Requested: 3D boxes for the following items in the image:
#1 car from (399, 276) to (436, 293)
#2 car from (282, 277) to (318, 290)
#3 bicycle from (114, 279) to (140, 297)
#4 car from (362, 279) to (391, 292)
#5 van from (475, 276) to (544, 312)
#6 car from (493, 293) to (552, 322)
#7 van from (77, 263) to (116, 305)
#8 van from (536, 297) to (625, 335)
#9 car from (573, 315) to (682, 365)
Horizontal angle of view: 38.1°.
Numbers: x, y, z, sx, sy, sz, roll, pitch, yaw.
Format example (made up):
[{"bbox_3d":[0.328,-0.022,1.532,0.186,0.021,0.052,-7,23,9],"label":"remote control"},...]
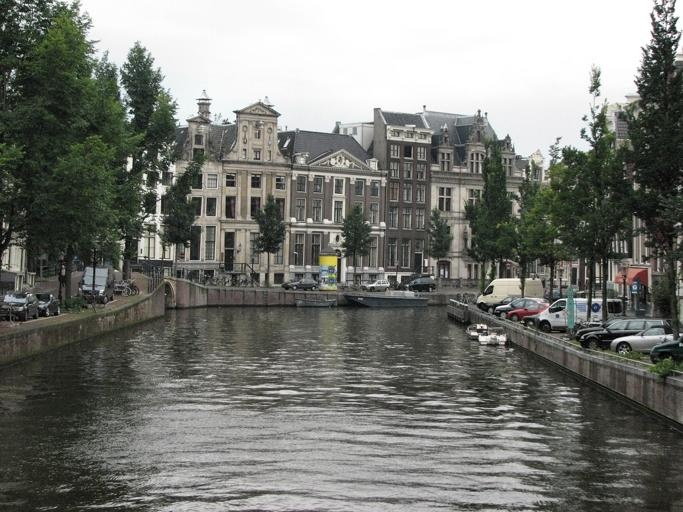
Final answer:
[{"bbox_3d":[9.062,3.245,116.292,3.354,1.440,1.829,4,-5,-21],"label":"car"},{"bbox_3d":[-4.406,3.071,105.953,3.524,1.054,1.782,1,-3,-8],"label":"car"},{"bbox_3d":[-17.733,2.667,81.347,2.202,1.300,1.058,0,1,4],"label":"bicycle"},{"bbox_3d":[3.783,3.342,112.713,2.251,1.155,1.429,4,-6,-26],"label":"car"},{"bbox_3d":[14.644,3.354,90.343,6.160,3.125,2.873,-1,5,-4],"label":"van"},{"bbox_3d":[12.832,3.746,71.336,1.673,1.229,3.610,-1,1,-44],"label":"car"},{"bbox_3d":[-17.709,1.987,70.305,2.022,2.139,4.188,1,-3,-3],"label":"van"},{"bbox_3d":[14.445,3.710,61.381,4.406,1.839,2.266,0,-2,21],"label":"van"},{"bbox_3d":[13.650,4.058,47.522,4.519,1.526,2.056,1,-2,13],"label":"car"}]
